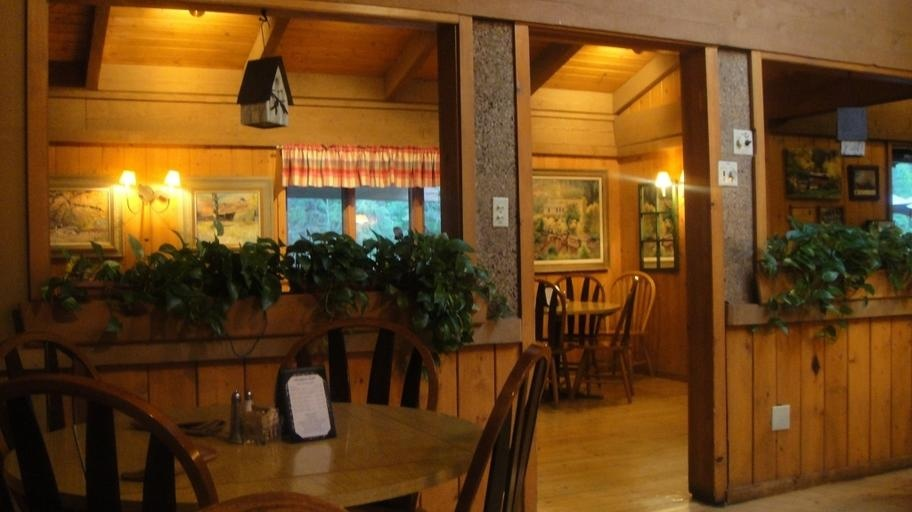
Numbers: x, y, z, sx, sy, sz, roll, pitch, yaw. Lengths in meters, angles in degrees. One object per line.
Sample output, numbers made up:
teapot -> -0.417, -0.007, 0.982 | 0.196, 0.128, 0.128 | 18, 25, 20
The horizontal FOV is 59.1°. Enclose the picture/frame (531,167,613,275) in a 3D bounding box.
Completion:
picture/frame -> 1.345, -0.420, 9.575 | 1.312, 1.331, 0.100 | 0, -2, -22

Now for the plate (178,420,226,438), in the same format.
plate -> -1.435, 0.988, 4.578 | 0.144, 0.040, 0.145 | 1, 0, 5

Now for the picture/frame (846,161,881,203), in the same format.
picture/frame -> 4.667, -0.852, 9.208 | 0.471, 0.444, 0.080 | -1, 0, -19

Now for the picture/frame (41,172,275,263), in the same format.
picture/frame -> -3.137, -0.438, 8.589 | 2.234, 0.879, 0.210 | -3, 9, -10
